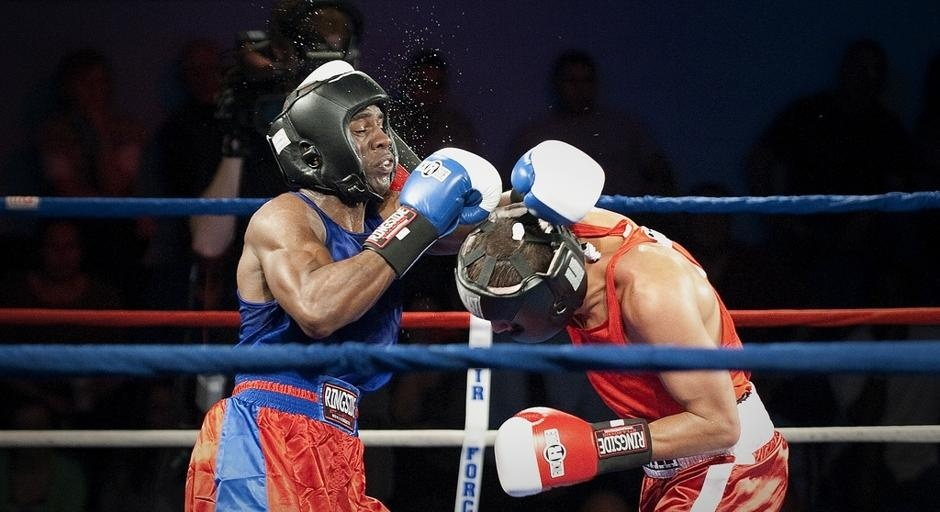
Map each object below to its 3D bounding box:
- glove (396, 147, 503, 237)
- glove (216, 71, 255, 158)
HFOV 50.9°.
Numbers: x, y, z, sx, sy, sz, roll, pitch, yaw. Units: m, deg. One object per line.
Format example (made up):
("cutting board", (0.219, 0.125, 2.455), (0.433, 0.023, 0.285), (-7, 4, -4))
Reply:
("glove", (-0.097, -0.313, 5.758), (0.519, 0.302, 0.619), (-31, 25, 36))
("glove", (-1.523, -0.905, 6.456), (0.151, 0.442, 0.341), (11, 7, 20))
